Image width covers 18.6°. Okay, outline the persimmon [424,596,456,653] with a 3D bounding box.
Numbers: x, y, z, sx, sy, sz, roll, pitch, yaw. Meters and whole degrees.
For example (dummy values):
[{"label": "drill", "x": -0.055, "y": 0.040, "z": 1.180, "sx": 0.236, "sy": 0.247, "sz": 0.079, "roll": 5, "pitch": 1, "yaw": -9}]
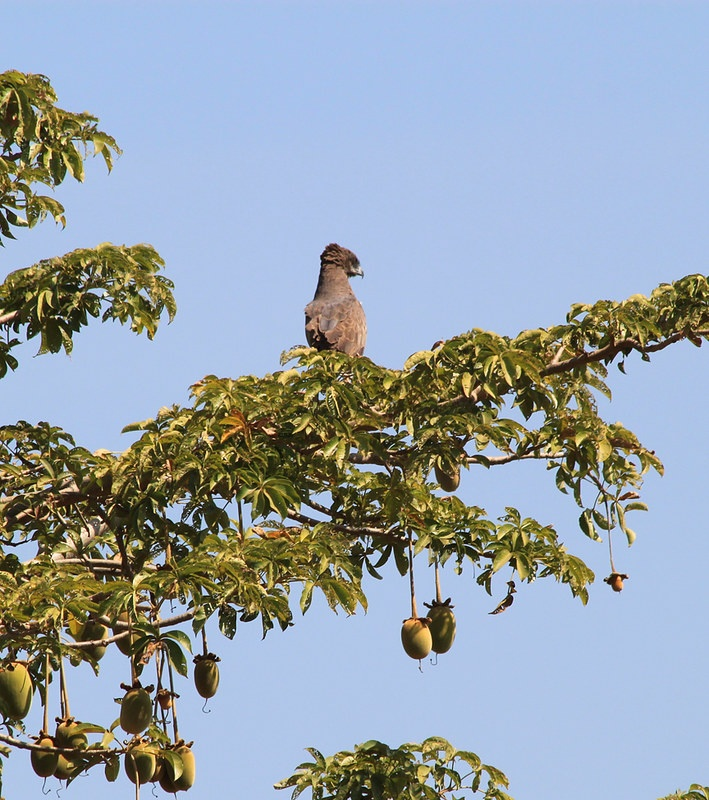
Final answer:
[{"label": "persimmon", "x": 0.415, "y": 1.228, "z": 11.698, "sx": 0.149, "sy": 0.325, "sz": 0.164, "roll": -1, "pitch": -2, "yaw": 4}]
